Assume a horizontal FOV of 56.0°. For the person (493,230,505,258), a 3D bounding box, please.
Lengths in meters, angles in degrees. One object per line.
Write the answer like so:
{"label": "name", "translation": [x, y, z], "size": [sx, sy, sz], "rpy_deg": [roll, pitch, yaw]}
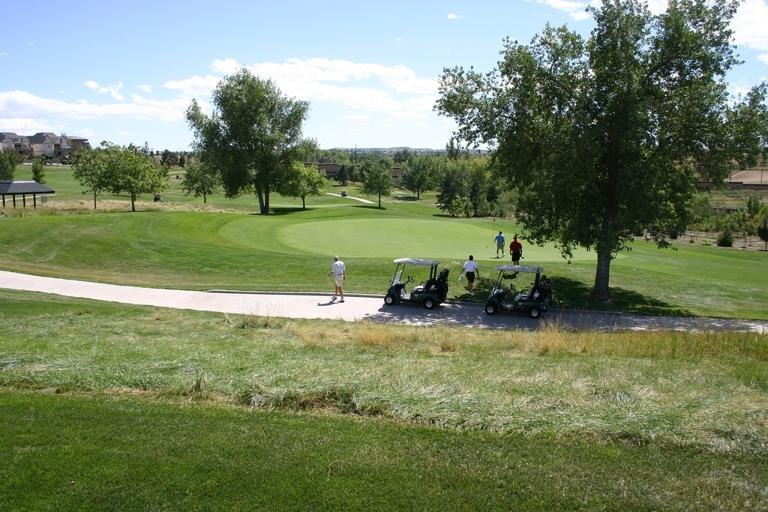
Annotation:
{"label": "person", "translation": [6.921, -0.758, 42.905], "size": [0.444, 1.496, 2.191], "rpy_deg": [4, 5, 10]}

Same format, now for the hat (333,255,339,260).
{"label": "hat", "translation": [-2.459, 0.030, 36.577], "size": [0.265, 0.316, 0.338], "rpy_deg": [5, -11, 10]}

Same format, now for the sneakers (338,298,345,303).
{"label": "sneakers", "translation": [-1.970, 1.944, 32.809], "size": [0.291, 0.164, 0.620], "rpy_deg": [2, 5, -7]}
